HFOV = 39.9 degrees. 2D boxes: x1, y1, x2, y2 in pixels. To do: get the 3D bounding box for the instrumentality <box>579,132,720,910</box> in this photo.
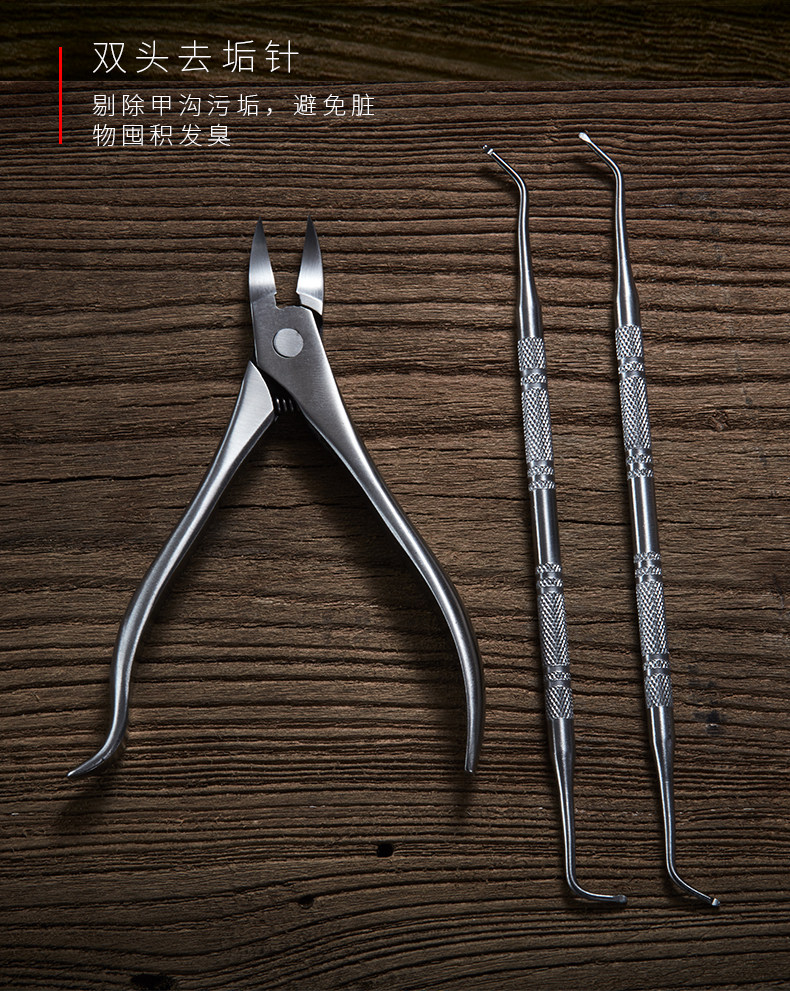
[{"bbox_3d":[0.190,0.016,0.799,0.086,0.021,0.421,-4,81,-1],"label":"instrumentality"}]
